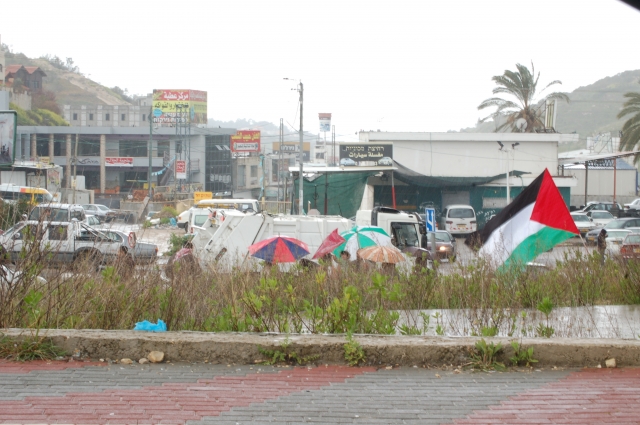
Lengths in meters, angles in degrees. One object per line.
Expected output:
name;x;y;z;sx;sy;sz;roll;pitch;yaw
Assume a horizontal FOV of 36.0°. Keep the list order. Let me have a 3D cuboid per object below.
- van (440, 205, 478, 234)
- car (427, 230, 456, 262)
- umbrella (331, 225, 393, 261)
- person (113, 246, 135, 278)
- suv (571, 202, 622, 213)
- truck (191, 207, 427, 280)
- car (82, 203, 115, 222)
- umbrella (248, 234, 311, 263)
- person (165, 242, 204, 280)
van;8.409;0.367;59.914;1.325;1.347;2.563;0;9;-1
car;5.714;1.631;46.742;1.165;1.038;2.929;-1;-6;8
umbrella;1.803;1.045;40.815;1.512;1.050;1.663;-9;38;-7
person;-7.196;1.841;36.213;0.680;1.116;1.043;1;-4;-13
suv;17.586;-0.351;62.363;2.766;1.262;1.382;2;1;10
truck;-1.112;0.894;47.713;13.209;4.896;4.892;0;-1;-2
car;-13.523;0.002;59.646;2.002;0.733;0.909;10;9;29
umbrella;-1.658;1.482;39.172;2.186;1.092;0.776;1;-4;-4
person;-5.449;1.621;38.720;0.724;1.930;0.989;-5;-34;8
